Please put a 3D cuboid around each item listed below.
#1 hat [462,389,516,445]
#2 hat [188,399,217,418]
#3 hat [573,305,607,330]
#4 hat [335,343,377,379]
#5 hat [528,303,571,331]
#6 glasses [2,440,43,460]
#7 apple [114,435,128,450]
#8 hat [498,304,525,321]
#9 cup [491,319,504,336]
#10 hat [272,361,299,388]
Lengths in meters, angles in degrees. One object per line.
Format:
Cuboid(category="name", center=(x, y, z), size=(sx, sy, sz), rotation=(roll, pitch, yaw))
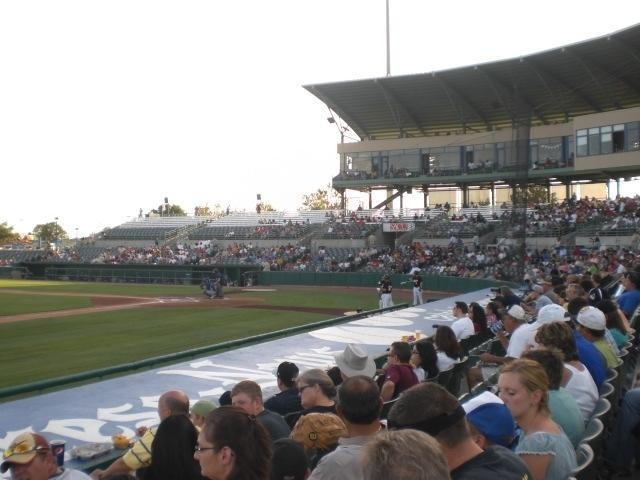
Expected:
Cuboid(category="hat", center=(1.856, 1.957, 8.022), size=(0.451, 0.325, 0.679), rotation=(5, 20, -38))
Cuboid(category="hat", center=(-1.433, 2.105, 9.054), size=(0.272, 0.187, 0.407), rotation=(0, -1, -15))
Cuboid(category="hat", center=(3.868, 1.121, 10.495), size=(0.307, 0.201, 0.386), rotation=(1, 17, -21))
Cuboid(category="hat", center=(0.469, 1.619, 9.707), size=(0.472, 0.186, 0.490), rotation=(-12, 50, -27))
Cuboid(category="hat", center=(3.710, 1.240, 11.630), size=(0.722, 0.307, 0.453), rotation=(-2, -8, -9))
Cuboid(category="glasses", center=(-3.223, 2.293, 7.934), size=(0.252, 0.114, 0.323), rotation=(-6, -4, 8))
Cuboid(category="apple", center=(-2.681, 2.720, 9.859), size=(0.157, 0.092, 0.198), rotation=(23, 9, -45))
Cuboid(category="hat", center=(3.127, 1.186, 11.868), size=(0.215, 0.111, 0.296), rotation=(-3, 15, -32))
Cuboid(category="cup", center=(3.126, 1.579, 12.954), size=(0.155, 0.161, 0.428), rotation=(3, 9, 20))
Cuboid(category="hat", center=(-0.409, 1.871, 9.977), size=(0.247, 0.382, 0.460), rotation=(0, -1, -42))
